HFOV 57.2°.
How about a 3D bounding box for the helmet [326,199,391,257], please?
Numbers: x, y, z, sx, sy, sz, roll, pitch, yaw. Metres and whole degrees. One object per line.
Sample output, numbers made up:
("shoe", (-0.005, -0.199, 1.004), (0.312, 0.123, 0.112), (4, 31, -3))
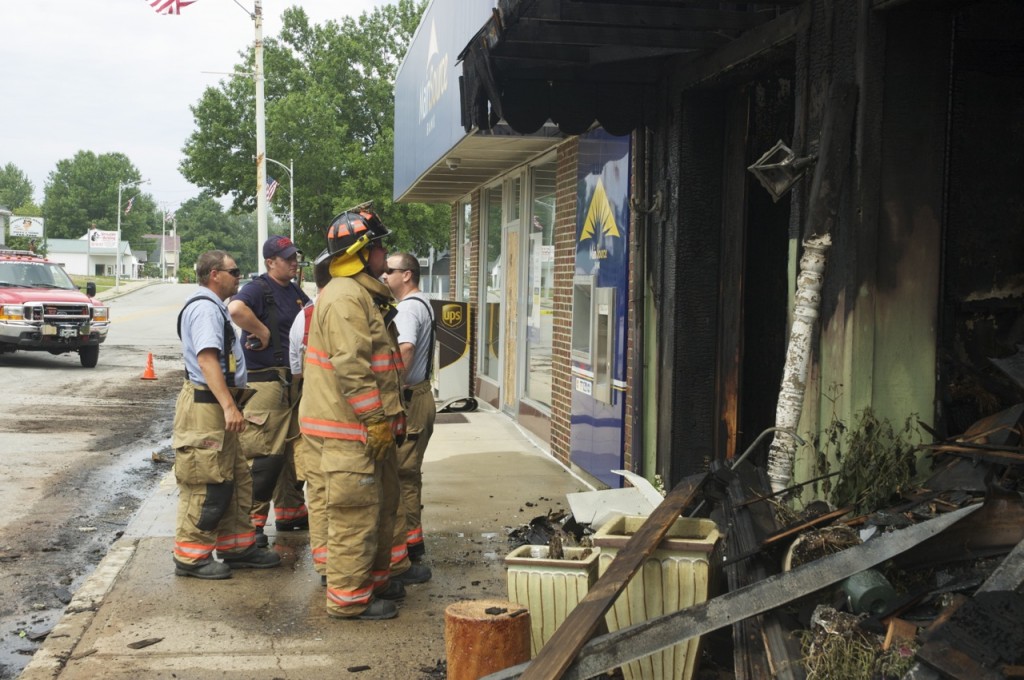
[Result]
("helmet", (-1.130, -0.807, 6.835), (0.486, 0.251, 0.353), (-31, 10, -28))

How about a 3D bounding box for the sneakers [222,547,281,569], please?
("sneakers", (-2.154, 1.783, 7.703), (0.428, 0.208, 0.183), (-2, 2, -6))

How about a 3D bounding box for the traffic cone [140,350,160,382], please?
("traffic cone", (-7.993, 0.587, 20.537), (0.527, 0.680, 0.520), (2, 3, 8))

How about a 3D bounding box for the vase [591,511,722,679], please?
("vase", (0.893, 1.565, 5.950), (0.880, 1.187, 0.882), (-1, -2, 10))

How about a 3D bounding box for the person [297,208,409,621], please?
("person", (-1.162, 0.486, 6.777), (0.749, 2.953, 0.726), (0, 3, -11))

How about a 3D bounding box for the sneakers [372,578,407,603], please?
("sneakers", (-0.916, 1.863, 6.986), (0.263, 0.117, 0.112), (-3, 2, 0))

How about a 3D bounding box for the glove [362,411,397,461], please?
("glove", (-0.939, 0.695, 6.564), (0.138, 0.255, 0.185), (3, 6, -43))

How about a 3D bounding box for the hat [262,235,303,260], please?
("hat", (-2.023, -0.802, 8.127), (0.264, 0.136, 0.191), (-7, 6, 9))

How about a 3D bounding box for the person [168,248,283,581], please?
("person", (-2.360, 0.581, 7.484), (0.639, 2.585, 0.680), (3, 4, 32))

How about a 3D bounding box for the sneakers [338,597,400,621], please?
("sneakers", (-1.042, 1.887, 6.671), (0.397, 0.164, 0.153), (-4, 1, -9))

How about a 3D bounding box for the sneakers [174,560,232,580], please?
("sneakers", (-2.450, 1.807, 7.418), (0.405, 0.196, 0.173), (-2, 2, -4))

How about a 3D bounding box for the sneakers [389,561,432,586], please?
("sneakers", (-0.813, 1.820, 7.331), (0.313, 0.141, 0.131), (-4, 3, -7))

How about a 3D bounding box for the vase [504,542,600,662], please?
("vase", (0.305, 1.650, 5.939), (0.573, 0.676, 0.602), (-5, 2, 1))
